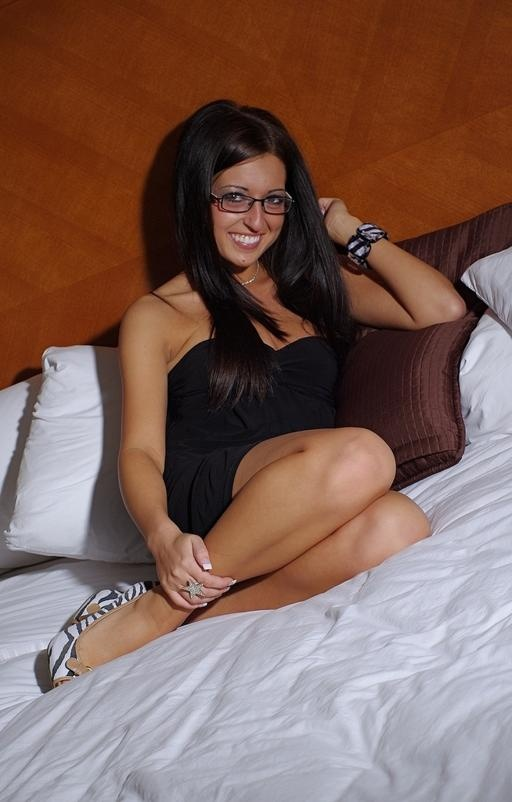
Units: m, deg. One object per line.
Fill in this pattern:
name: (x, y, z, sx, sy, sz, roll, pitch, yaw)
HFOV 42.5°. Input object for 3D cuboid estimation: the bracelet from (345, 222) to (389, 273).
bracelet: (0.297, -0.419, 1.763, 0.118, 0.042, 0.108, -39, 64, -15)

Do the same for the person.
person: (-0.066, -0.138, 1.411, 0.673, 0.996, 0.944, -1, 20, -3)

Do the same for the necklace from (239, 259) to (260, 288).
necklace: (-0.022, -0.340, 1.775, 0.059, 0.075, 0.005, -30, 40, -31)

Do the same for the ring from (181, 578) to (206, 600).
ring: (-0.104, 0.313, 1.095, 0.036, 0.033, 0.010, 40, 10, -5)

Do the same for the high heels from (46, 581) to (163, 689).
high heels: (-0.294, 0.415, 1.260, 0.124, 0.081, 0.228, 24, 66, 19)
